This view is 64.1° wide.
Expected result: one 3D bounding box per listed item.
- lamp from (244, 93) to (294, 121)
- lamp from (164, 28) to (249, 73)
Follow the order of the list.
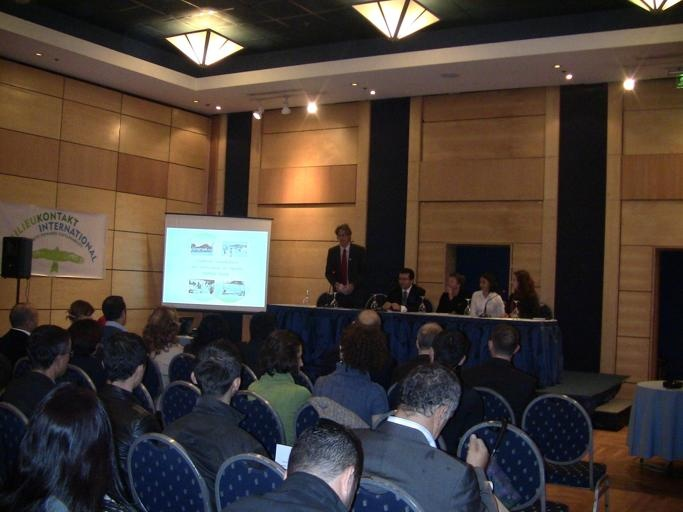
[{"bbox_3d":[-1.263,-2.672,9.857,0.953,0.594,0.335,-4,7,6],"label":"lamp"},{"bbox_3d":[-2.113,-3.141,8.317,0.931,0.428,1.027,5,7,26],"label":"lamp"}]
